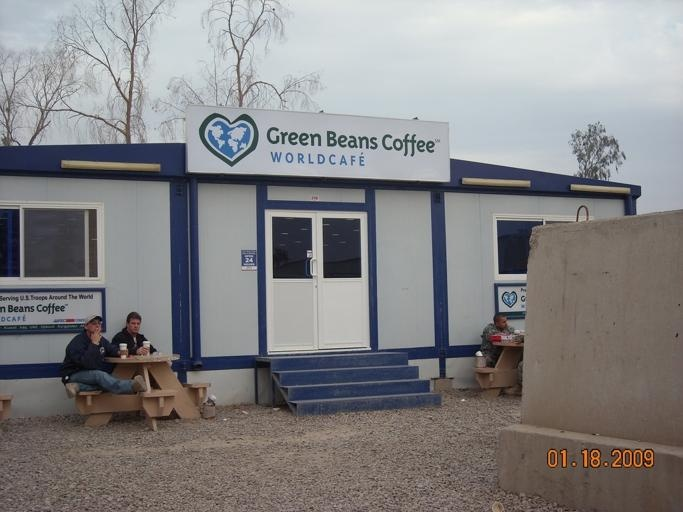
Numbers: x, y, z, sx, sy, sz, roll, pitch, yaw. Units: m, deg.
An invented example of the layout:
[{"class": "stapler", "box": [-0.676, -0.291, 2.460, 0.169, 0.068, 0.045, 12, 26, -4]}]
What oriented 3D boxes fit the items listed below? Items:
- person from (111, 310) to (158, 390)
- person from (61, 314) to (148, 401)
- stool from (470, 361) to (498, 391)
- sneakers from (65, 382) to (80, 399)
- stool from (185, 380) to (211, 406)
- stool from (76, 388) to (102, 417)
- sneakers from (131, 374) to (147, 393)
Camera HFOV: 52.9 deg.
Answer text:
[{"class": "person", "box": [-3.141, 1.554, 10.393, 0.653, 1.342, 0.645, -6, -9, 20]}, {"class": "person", "box": [-3.377, 1.408, 9.732, 1.396, 1.151, 0.964, 2, 1, 30]}, {"class": "stool", "box": [2.401, 2.071, 11.681, 0.493, 0.535, 0.395, 6, -5, -41]}, {"class": "sneakers", "box": [-3.707, 1.875, 9.440, 0.163, 0.147, 0.246, -1, 5, -23]}, {"class": "stool", "box": [-2.163, 2.071, 10.345, 0.333, 0.359, 0.331, 0, 1, -22]}, {"class": "stool", "box": [-3.564, 2.053, 9.581, 0.332, 0.344, 0.334, 3, -5, -40]}, {"class": "sneakers", "box": [-2.780, 1.801, 9.426, 0.140, 0.282, 0.127, -12, 13, 3]}]
